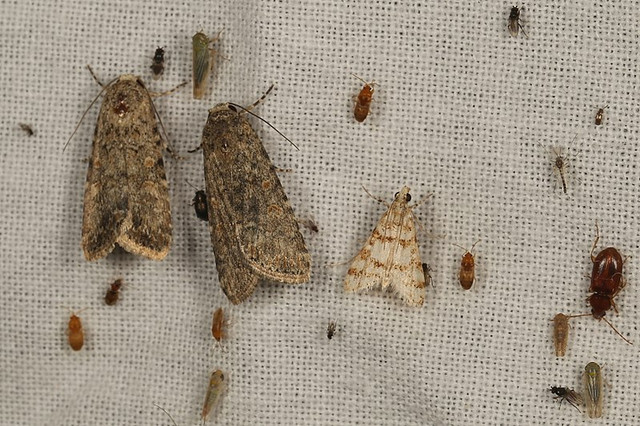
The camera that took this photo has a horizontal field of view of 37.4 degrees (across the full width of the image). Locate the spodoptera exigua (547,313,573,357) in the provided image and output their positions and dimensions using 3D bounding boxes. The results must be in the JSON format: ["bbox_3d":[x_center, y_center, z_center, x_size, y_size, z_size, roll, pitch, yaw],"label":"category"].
[{"bbox_3d":[1.644,0.808,6.422,0.135,0.072,0.291,-4,61,22],"label":"spodoptera exigua"}]

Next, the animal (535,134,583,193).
[{"bbox_3d":[1.645,-0.332,6.431,0.242,0.347,0.112,-3,64,25],"label":"animal"}]

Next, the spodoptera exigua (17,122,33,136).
[{"bbox_3d":[-2.032,-0.580,6.525,0.094,0.024,0.065,43,89,-1],"label":"spodoptera exigua"}]

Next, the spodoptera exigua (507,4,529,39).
[{"bbox_3d":[1.354,-1.295,6.445,0.152,0.057,0.216,5,96,11],"label":"spodoptera exigua"}]

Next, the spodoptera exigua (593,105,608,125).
[{"bbox_3d":[1.923,-0.665,6.432,0.077,0.040,0.130,3,90,13],"label":"spodoptera exigua"}]

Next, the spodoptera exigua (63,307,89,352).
[{"bbox_3d":[-1.681,0.808,6.493,0.120,0.063,0.267,-1,89,-9],"label":"spodoptera exigua"}]

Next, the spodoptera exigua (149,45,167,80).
[{"bbox_3d":[-1.115,-1.024,6.504,0.109,0.050,0.190,4,92,6],"label":"spodoptera exigua"}]

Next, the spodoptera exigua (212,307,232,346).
[{"bbox_3d":[-0.675,0.772,6.469,0.165,0.057,0.219,-2,94,31],"label":"spodoptera exigua"}]

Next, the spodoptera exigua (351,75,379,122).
[{"bbox_3d":[0.296,-0.756,6.444,0.158,0.060,0.244,16,97,18],"label":"spodoptera exigua"}]

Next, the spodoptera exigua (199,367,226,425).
[{"bbox_3d":[-0.722,1.245,6.448,0.137,0.127,0.400,13,104,7],"label":"spodoptera exigua"}]

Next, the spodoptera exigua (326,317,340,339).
[{"bbox_3d":[0.087,0.787,6.462,0.071,0.038,0.127,6,98,-5],"label":"spodoptera exigua"}]
